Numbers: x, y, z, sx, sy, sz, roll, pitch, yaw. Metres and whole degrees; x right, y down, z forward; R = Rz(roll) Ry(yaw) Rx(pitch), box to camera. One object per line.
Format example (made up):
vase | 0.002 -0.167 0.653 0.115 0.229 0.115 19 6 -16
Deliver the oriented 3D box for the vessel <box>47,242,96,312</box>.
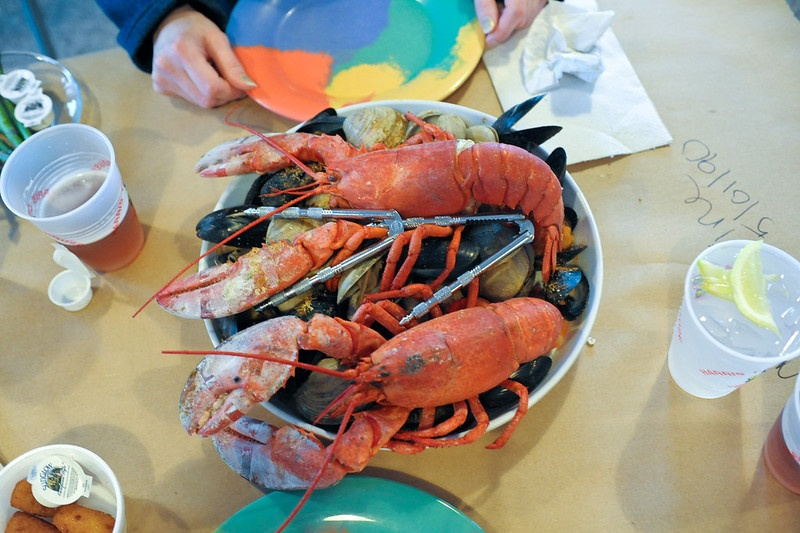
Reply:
vessel | -1.067 0.038 2.397 0.143 0.224 0.225 3 15 -3

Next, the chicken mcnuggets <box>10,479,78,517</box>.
chicken mcnuggets | -1.017 0.659 2.070 0.163 0.081 0.042 27 0 -8
